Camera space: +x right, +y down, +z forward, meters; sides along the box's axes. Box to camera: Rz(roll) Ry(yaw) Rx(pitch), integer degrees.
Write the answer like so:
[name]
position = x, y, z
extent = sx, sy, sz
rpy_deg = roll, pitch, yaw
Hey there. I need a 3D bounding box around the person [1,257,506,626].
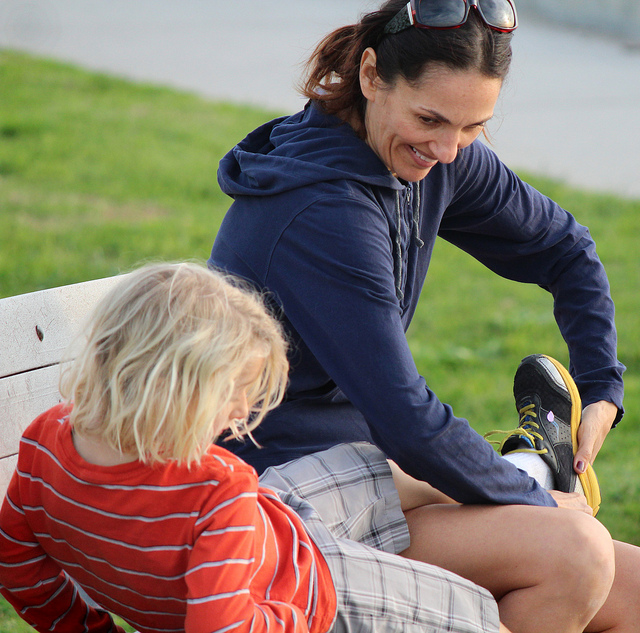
[person]
position = -0.190, 0.387, 2.530
extent = 0.920, 0.963, 0.514
rpy_deg = 18, 13, 22
